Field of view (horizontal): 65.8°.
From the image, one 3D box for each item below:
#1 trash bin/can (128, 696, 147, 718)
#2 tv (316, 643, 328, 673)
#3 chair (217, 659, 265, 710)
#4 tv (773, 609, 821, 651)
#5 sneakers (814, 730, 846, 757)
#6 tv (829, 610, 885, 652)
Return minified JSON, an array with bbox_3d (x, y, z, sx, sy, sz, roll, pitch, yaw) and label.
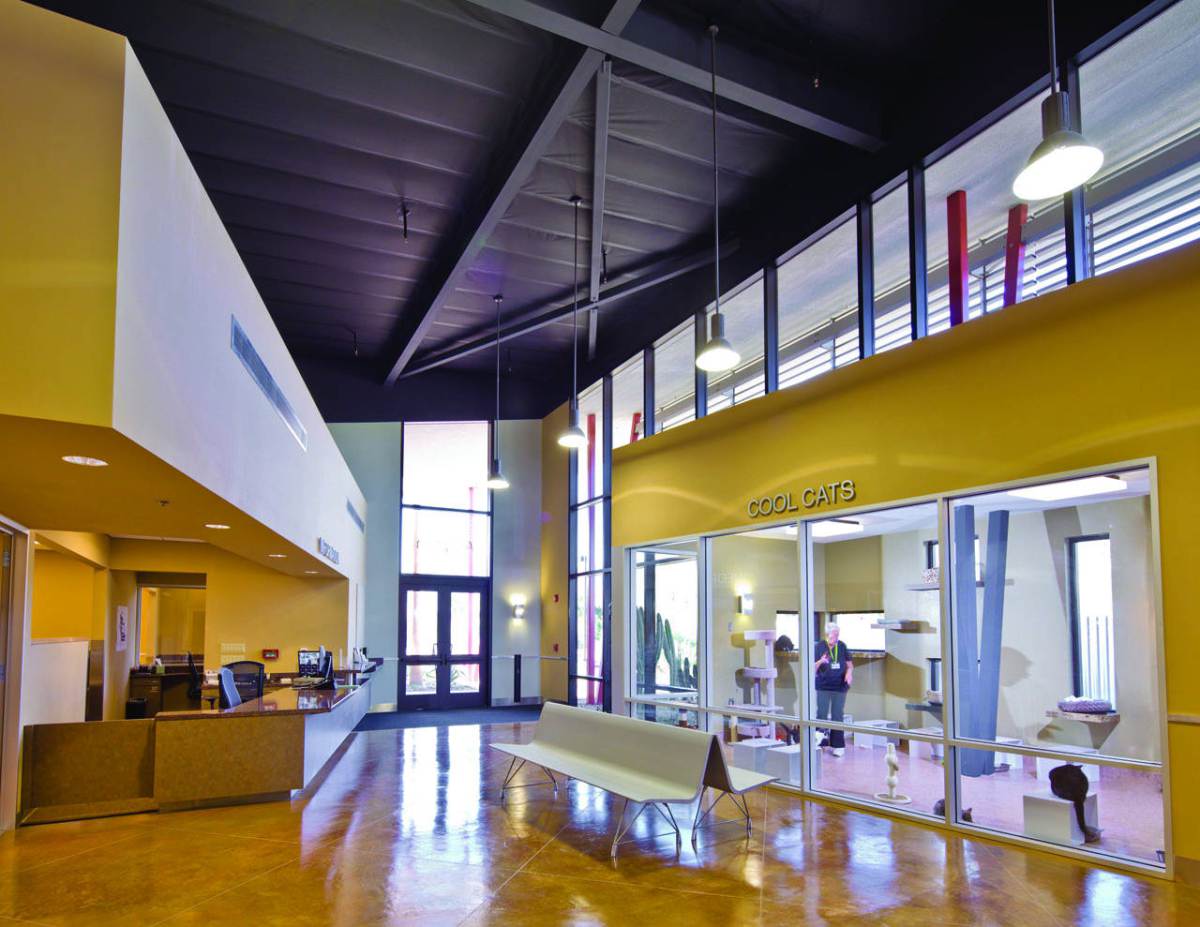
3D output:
[{"bbox_3d":[-6.369,3.356,12.773,0.209,0.232,0.258,-2,-4,24],"label":"trash bin/can"},{"bbox_3d":[-3.674,2.582,12.247,0.090,0.289,0.261,7,14,-14],"label":"tv"},{"bbox_3d":[-4.235,2.608,11.090,0.435,0.559,2.823,1,-5,-18],"label":"chair"},{"bbox_3d":[1.914,1.608,8.975,0.114,0.369,0.571,2,-5,-29],"label":"tv"},{"bbox_3d":[2.110,2.592,8.530,0.089,0.211,0.275,1,3,-33],"label":"sneakers"},{"bbox_3d":[2.348,1.514,8.428,0.022,0.368,0.594,2,-5,-34],"label":"tv"}]
